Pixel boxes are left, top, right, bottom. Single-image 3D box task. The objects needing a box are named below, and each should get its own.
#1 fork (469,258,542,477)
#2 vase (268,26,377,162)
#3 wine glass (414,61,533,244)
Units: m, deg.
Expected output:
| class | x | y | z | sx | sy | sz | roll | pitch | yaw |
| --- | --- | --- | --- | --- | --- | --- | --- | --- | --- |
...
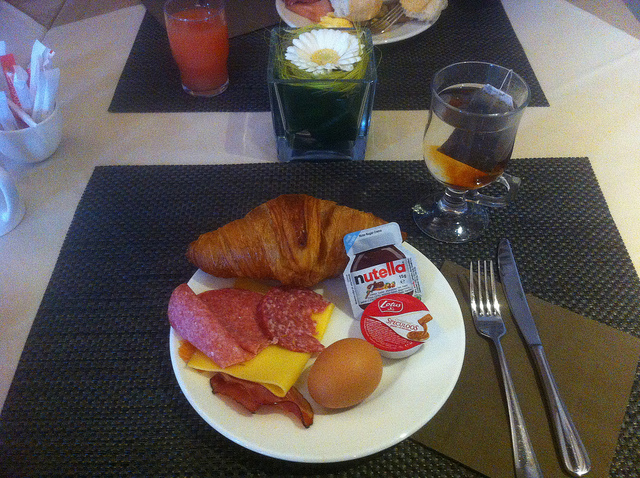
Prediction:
| class | x | y | z | sx | sy | sz | roll | pitch | yaw |
| --- | --- | --- | --- | --- | --- | --- | --- | --- | --- |
| fork | 0.292 | 0.209 | 0.765 | 0.041 | 0.036 | 0.304 | -1 | 55 | -6 |
| vase | 0.005 | -0.333 | 1.060 | 0.223 | 0.264 | 0.219 | -8 | 54 | -7 |
| wine glass | 0.283 | -0.169 | 0.912 | 0.209 | 0.252 | 0.295 | 23 | 65 | 13 |
